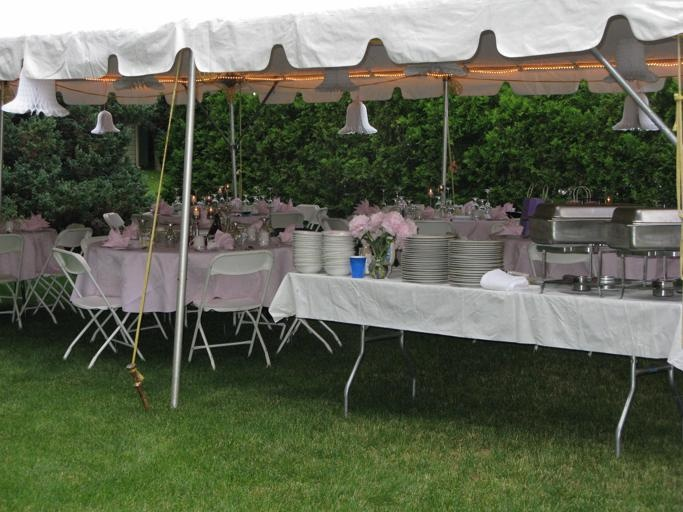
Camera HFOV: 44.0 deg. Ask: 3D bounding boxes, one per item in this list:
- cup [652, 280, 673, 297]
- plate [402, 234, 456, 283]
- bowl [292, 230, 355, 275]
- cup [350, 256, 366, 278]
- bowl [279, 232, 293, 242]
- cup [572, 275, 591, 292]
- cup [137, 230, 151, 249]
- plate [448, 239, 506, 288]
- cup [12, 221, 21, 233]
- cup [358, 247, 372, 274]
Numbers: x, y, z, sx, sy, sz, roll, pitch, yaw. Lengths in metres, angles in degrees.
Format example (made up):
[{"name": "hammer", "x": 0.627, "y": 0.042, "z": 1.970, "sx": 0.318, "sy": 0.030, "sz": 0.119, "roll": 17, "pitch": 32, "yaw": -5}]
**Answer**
[{"name": "cup", "x": 2.066, "y": 0.214, "z": 5.434, "sx": 0.107, "sy": 0.094, "sz": 0.106, "roll": 1, "pitch": 3, "yaw": 0}, {"name": "plate", "x": 0.586, "y": 0.026, "z": 6.003, "sx": 0.274, "sy": 0.245, "sz": 0.308, "roll": 1, "pitch": 2, "yaw": 10}, {"name": "bowl", "x": -0.125, "y": -0.009, "z": 6.227, "sx": 0.309, "sy": 0.245, "sz": 0.348, "roll": 0, "pitch": 2, "yaw": 2}, {"name": "cup", "x": 0.112, "y": 0.088, "z": 6.165, "sx": 0.116, "sy": 0.151, "sz": 0.130, "roll": 1, "pitch": -1, "yaw": -4}, {"name": "bowl", "x": -0.520, "y": -0.165, "z": 7.907, "sx": 0.111, "sy": 0.091, "sz": 0.142, "roll": -3, "pitch": 12, "yaw": -14}, {"name": "cup", "x": 1.606, "y": 0.186, "z": 5.620, "sx": 0.094, "sy": 0.075, "sz": 0.100, "roll": -1, "pitch": 5, "yaw": 0}, {"name": "cup", "x": -1.719, "y": -0.130, "z": 7.381, "sx": 0.101, "sy": 0.181, "sz": 0.118, "roll": 0, "pitch": 5, "yaw": 1}, {"name": "plate", "x": 0.926, "y": 0.030, "z": 5.835, "sx": 0.291, "sy": 0.260, "sz": 0.315, "roll": 1, "pitch": 2, "yaw": 29}, {"name": "cup", "x": -3.601, "y": -0.307, "z": 9.356, "sx": 0.091, "sy": 0.157, "sz": 0.116, "roll": 0, "pitch": -3, "yaw": -8}, {"name": "cup", "x": 0.159, "y": 0.035, "z": 6.175, "sx": 0.129, "sy": 0.220, "sz": 0.144, "roll": 0, "pitch": 0, "yaw": 1}]
